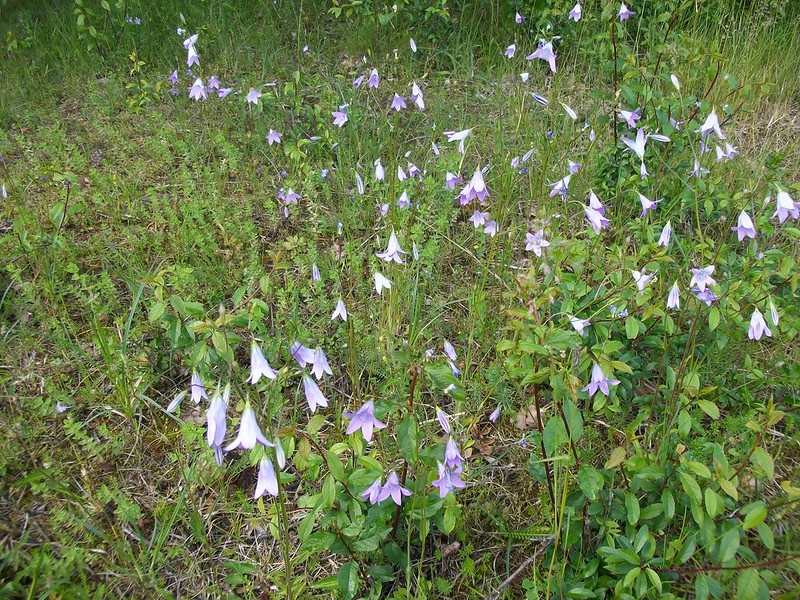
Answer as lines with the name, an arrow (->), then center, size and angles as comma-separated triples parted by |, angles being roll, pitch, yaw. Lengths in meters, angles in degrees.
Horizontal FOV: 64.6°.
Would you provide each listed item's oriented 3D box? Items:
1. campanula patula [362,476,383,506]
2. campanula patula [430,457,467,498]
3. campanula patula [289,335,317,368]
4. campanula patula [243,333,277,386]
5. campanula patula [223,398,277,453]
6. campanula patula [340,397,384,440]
campanula patula -> -0.128, 0.896, 2.995 | 0.078, 0.052, 0.137 | 23, 89, 18
campanula patula -> 0.223, 0.799, 2.884 | 0.141, 0.145, 0.097 | -14, 40, -12
campanula patula -> -0.470, 0.256, 3.038 | 0.085, 0.042, 0.139 | -35, 74, -15
campanula patula -> -0.618, 0.247, 2.771 | 0.111, 0.175, 0.145 | -11, 34, -9
campanula patula -> -0.646, 0.555, 2.765 | 0.177, 0.233, 0.192 | 0, 11, 27
campanula patula -> -0.157, 0.541, 2.907 | 0.135, 0.215, 0.094 | 19, 12, -1
